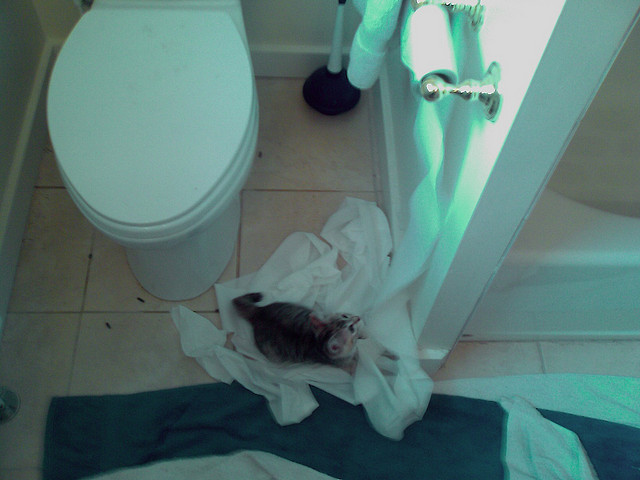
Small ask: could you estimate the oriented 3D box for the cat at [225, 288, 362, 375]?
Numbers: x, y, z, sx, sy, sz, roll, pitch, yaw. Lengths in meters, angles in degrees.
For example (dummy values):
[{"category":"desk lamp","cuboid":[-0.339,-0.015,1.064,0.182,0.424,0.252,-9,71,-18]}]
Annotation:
[{"category":"cat","cuboid":[-0.067,0.224,1.319,0.267,0.109,0.175,6,80,3]}]
